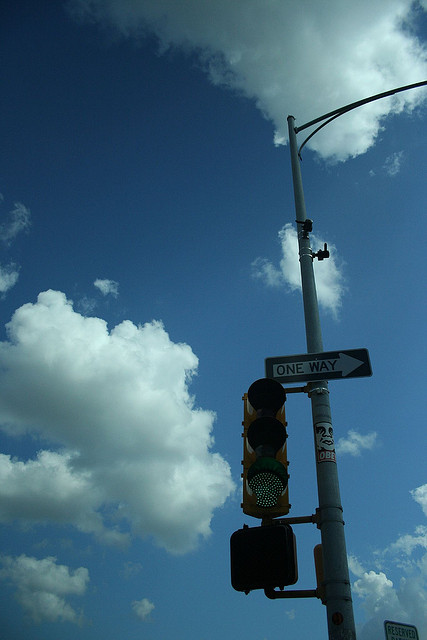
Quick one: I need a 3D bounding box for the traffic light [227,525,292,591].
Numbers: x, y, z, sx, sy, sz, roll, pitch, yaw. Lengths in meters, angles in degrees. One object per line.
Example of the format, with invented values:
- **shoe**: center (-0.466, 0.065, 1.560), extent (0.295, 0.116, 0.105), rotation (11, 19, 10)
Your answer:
- **traffic light**: center (0.411, 1.917, 5.892), extent (0.560, 0.533, 0.191), rotation (-16, -31, 23)
